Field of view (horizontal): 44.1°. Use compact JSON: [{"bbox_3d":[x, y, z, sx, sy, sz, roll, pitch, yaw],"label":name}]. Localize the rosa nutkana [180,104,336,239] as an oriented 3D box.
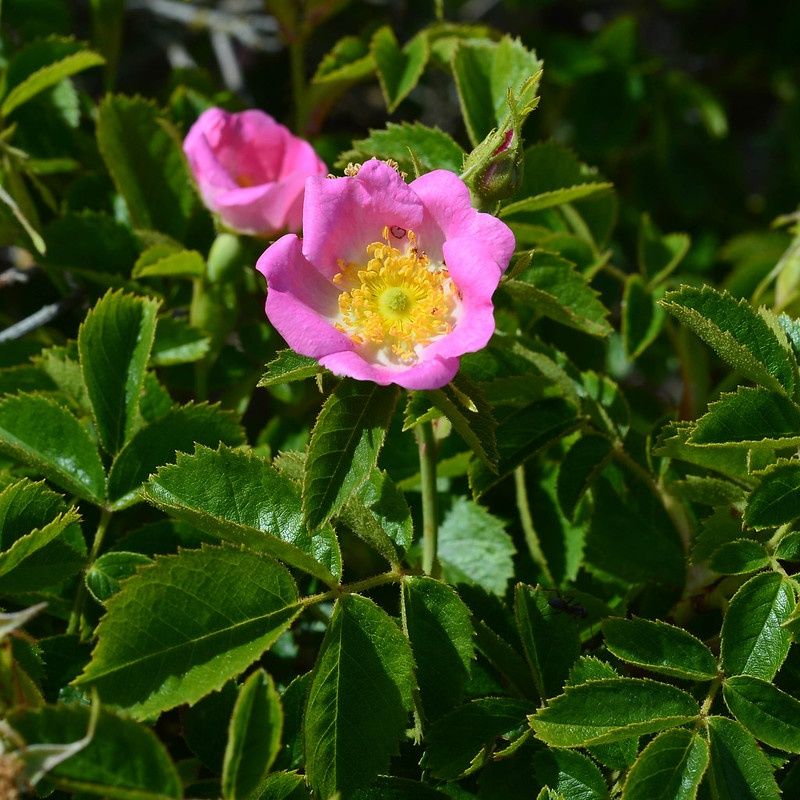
[{"bbox_3d":[-0.225,-0.327,1.409,0.225,0.100,0.200,5,57,-37],"label":"rosa nutkana"}]
